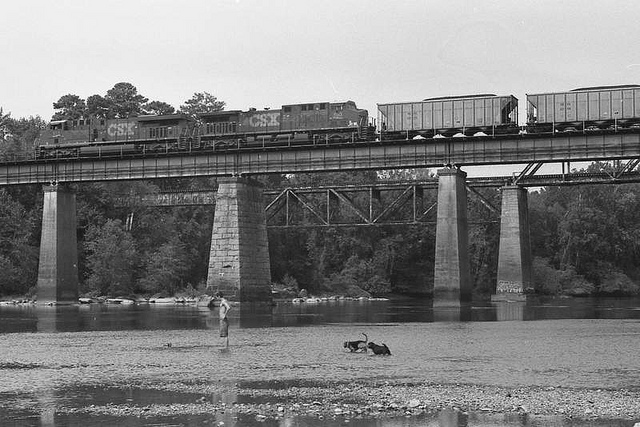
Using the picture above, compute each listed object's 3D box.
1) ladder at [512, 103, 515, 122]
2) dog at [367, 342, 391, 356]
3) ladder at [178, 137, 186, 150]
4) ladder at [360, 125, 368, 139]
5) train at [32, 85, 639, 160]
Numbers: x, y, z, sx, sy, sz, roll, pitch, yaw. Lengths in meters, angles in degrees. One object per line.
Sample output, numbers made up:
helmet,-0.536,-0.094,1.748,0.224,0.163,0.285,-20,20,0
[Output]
ladder,20.900,-10.798,162.137,0.275,1.907,0.734,-3,-6,9
dog,4.819,10.914,121.145,1.746,1.083,0.604,-2,-6,6
ladder,-15.127,-7.698,166.855,0.864,1.759,2.952,-1,-6,-5
ladder,4.870,-9.012,162.315,1.148,1.887,2.019,0,3,1
train,1.833,-9.586,164.580,64.667,6.120,6.520,-3,-6,15
